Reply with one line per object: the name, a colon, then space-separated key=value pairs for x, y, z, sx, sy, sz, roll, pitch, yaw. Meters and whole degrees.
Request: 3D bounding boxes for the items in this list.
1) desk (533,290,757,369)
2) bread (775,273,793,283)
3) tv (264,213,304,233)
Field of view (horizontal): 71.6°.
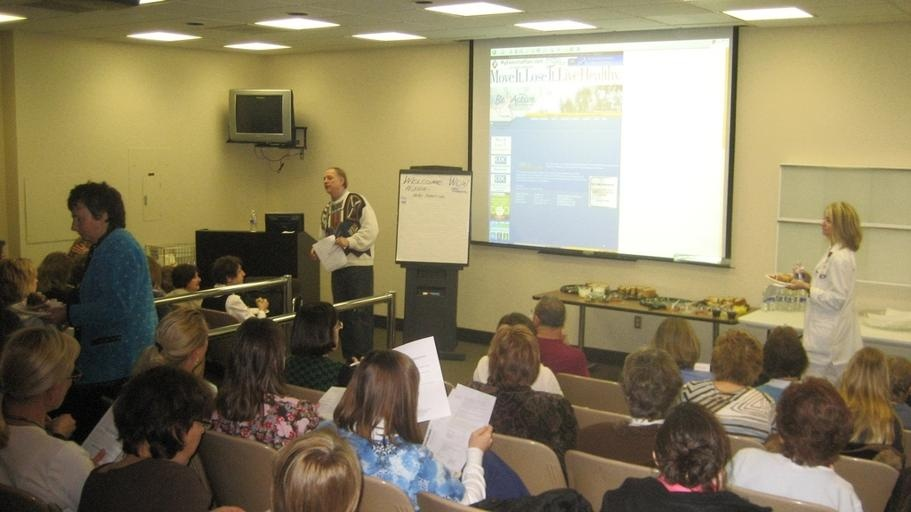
desk: x=2.145 y=1.025 z=7.271 sx=1.982 sy=0.835 sz=0.923 roll=1 pitch=0 yaw=36
bread: x=3.306 y=0.219 z=6.354 sx=0.153 sy=0.043 sz=0.149 roll=3 pitch=6 yaw=37
tv: x=-2.272 y=-0.432 z=8.534 sx=0.576 sy=0.247 sz=0.443 roll=1 pitch=-3 yaw=-1
